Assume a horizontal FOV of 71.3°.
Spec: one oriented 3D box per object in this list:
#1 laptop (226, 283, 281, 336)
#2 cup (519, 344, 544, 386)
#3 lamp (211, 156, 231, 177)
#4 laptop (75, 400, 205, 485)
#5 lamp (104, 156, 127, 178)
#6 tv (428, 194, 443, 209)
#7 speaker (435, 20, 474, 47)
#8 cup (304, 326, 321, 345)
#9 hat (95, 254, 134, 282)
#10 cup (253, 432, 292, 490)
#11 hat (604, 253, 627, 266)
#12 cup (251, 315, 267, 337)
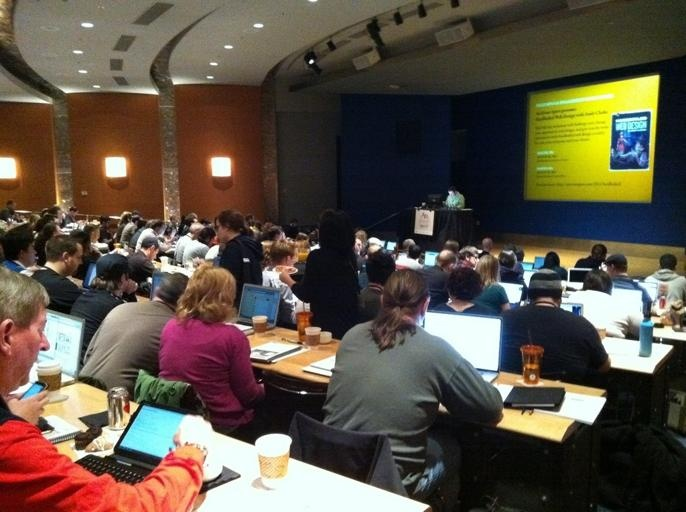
[{"bbox_3d":[-0.714,0.413,4.015,0.412,0.321,0.345,13,6,21],"label":"laptop"},{"bbox_3d":[1.120,0.632,2.820,0.108,0.229,0.132,2,6,19],"label":"cup"},{"bbox_3d":[-3.381,-2.492,13.178,0.560,0.547,0.312,0,2,-12],"label":"lamp"},{"bbox_3d":[-0.771,0.713,1.844,0.288,0.169,0.271,9,6,38],"label":"laptop"},{"bbox_3d":[-6.480,-2.551,13.674,0.584,0.579,0.576,-1,-4,-21],"label":"lamp"},{"bbox_3d":[2.394,-1.405,12.290,0.496,0.501,0.177,0,19,9],"label":"tv"},{"bbox_3d":[2.196,-4.264,9.123,0.705,0.345,0.587,4,7,37],"label":"speaker"},{"bbox_3d":[-0.214,0.569,3.510,0.126,0.113,0.127,1,11,0],"label":"cup"},{"bbox_3d":[-2.031,0.105,4.233,0.196,0.164,0.303,1,25,2],"label":"hat"},{"bbox_3d":[-0.255,0.746,1.791,0.161,0.129,0.167,0,14,0],"label":"cup"},{"bbox_3d":[2.949,0.037,5.174,0.181,0.126,0.242,5,7,-2],"label":"hat"},{"bbox_3d":[-0.658,0.559,3.835,0.120,0.102,0.124,-1,1,0],"label":"cup"}]
